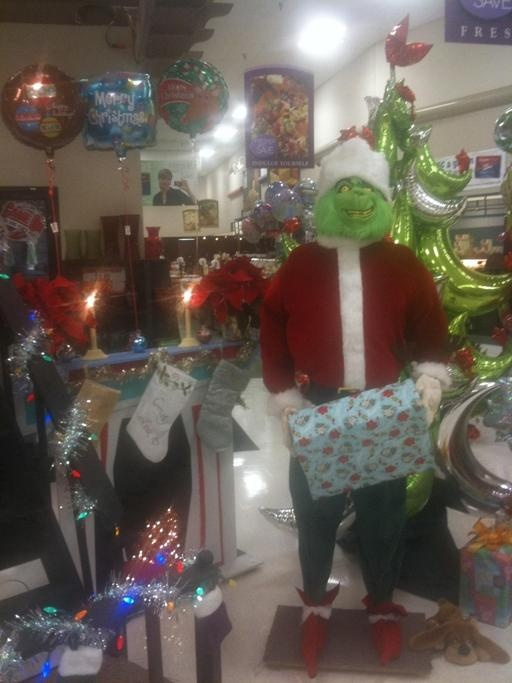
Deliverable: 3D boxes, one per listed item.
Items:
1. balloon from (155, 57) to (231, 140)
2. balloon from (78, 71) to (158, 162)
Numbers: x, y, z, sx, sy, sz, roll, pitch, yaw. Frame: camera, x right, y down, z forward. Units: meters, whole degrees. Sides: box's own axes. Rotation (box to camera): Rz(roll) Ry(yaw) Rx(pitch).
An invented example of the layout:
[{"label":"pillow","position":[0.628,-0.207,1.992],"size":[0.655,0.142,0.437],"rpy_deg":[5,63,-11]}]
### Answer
[{"label":"balloon","position":[-0.357,-1.380,3.129],"size":[0.434,0.432,0.404],"rpy_deg":[-1,13,0]},{"label":"balloon","position":[-0.661,-1.092,2.654],"size":[0.357,0.349,0.268],"rpy_deg":[-4,11,-11]}]
